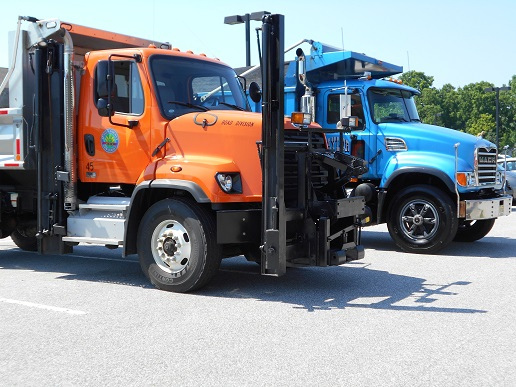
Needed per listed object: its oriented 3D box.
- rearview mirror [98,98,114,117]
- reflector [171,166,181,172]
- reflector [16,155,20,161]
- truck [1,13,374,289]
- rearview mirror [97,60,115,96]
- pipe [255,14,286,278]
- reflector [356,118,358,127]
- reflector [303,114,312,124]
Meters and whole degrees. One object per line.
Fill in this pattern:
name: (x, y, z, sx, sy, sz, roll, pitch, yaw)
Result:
rearview mirror: (-2.294, -1.275, 6.699, 0.258, 0.316, 0.194, 5, 3, 17)
reflector: (-1.156, -0.343, 6.365, 0.167, 0.078, 0.047, 4, 5, 34)
reflector: (-4.140, -0.615, 7.811, 0.058, 0.095, 0.021, 4, -2, 15)
truck: (-1.666, -0.855, 8.109, 6.909, 3.720, 3.330, -1, 2, 33)
rearview mirror: (-2.215, -1.660, 6.545, 0.267, 0.488, 0.241, 0, 4, -8)
pipe: (0.160, -0.602, 5.807, 0.392, 3.310, 0.240, 0, 4, -3)
reflector: (1.728, -1.227, 7.911, 0.028, 0.133, 0.126, 1, -27, 9)
reflector: (0.664, -1.010, 6.152, 0.028, 0.125, 0.112, 1, 2, 41)
